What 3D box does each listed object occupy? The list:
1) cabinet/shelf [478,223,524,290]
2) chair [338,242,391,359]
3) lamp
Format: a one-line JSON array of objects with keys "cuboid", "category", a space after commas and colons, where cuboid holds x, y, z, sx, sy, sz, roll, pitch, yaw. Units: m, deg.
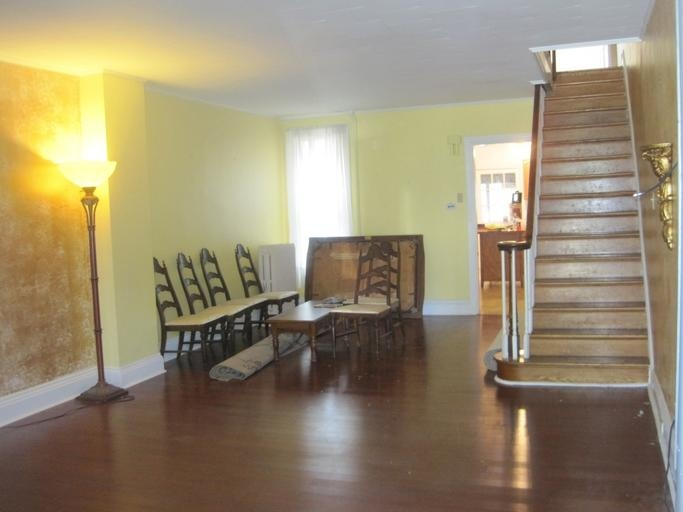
[{"cuboid": [3.043, 0.074, 10.503, 0.776, 1.175, 0.705, 0, 9, 16], "category": "cabinet/shelf"}, {"cuboid": [0.351, 0.469, 7.308, 0.665, 1.263, 1.652, -2, 8, 6], "category": "chair"}, {"cuboid": [-2.390, 0.262, 5.342, 0.471, 2.313, 0.421, 0, 9, 15], "category": "lamp"}]
